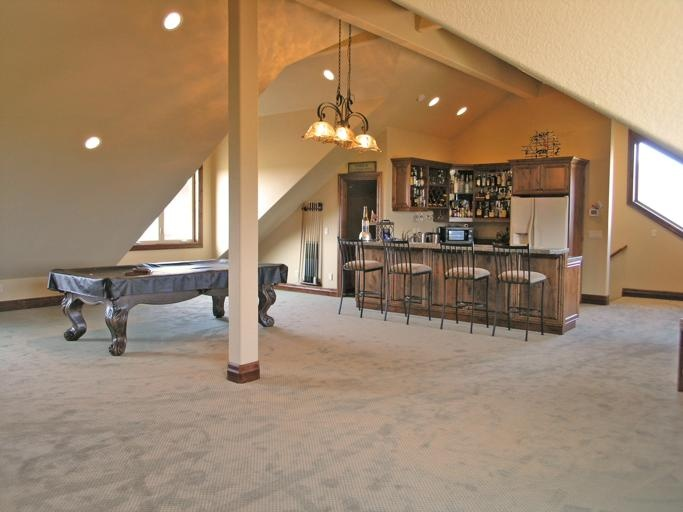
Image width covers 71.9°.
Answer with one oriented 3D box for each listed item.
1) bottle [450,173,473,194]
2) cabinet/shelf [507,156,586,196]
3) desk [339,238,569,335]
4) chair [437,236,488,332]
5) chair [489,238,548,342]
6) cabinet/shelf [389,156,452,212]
[{"bbox_3d":[2.549,-1.535,10.013,0.449,0.437,0.149,1,1,-8],"label":"bottle"},{"bbox_3d":[3.697,-1.417,8.770,1.042,0.658,0.607,1,-1,22],"label":"cabinet/shelf"},{"bbox_3d":[1.655,0.363,7.536,3.646,1.347,1.053,3,1,-9],"label":"desk"},{"bbox_3d":[1.804,0.420,6.943,0.714,1.257,0.714,0,1,-21],"label":"chair"},{"bbox_3d":[2.464,0.484,6.543,0.774,1.311,0.744,5,0,20],"label":"chair"},{"bbox_3d":[1.576,-1.388,9.324,1.493,1.056,0.417,6,-1,-40],"label":"cabinet/shelf"}]
